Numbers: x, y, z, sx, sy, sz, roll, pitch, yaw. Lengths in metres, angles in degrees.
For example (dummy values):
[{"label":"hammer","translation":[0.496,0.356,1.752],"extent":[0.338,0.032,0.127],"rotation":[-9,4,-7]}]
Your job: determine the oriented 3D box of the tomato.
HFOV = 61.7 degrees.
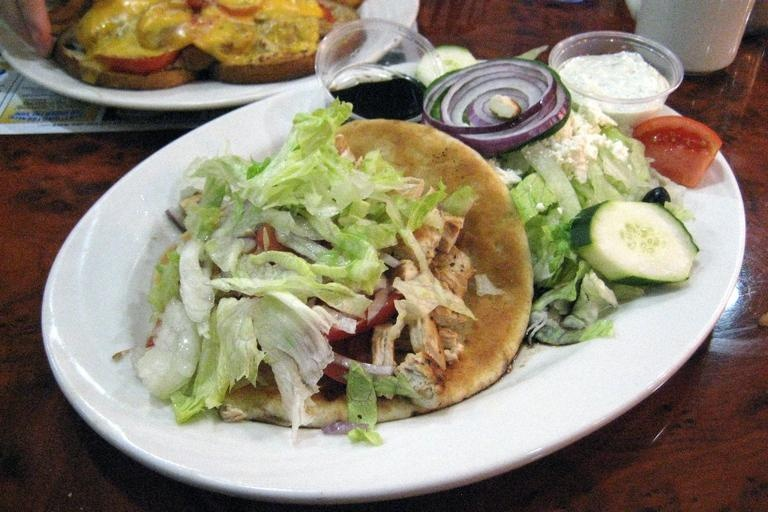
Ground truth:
[{"label":"tomato","translation":[1.413,-0.521,3.169],"extent":[0.431,0.091,0.318],"rotation":[36,91,25]}]
